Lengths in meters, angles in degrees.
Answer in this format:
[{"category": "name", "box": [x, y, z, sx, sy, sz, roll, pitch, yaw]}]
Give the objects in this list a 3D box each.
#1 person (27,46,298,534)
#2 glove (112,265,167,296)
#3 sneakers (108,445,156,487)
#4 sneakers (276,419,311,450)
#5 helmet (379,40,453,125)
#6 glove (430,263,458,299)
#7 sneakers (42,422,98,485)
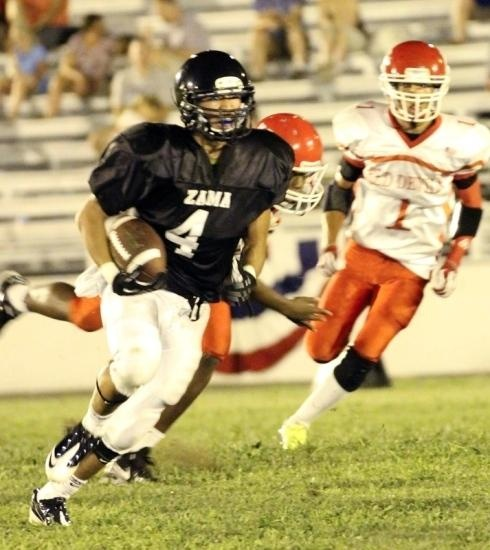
[{"category": "person", "box": [-0.239, 0.026, 2.268, 0.418, 1.406, 0.630, 16, 15, 23]}, {"category": "glove", "box": [-0.303, 0.016, 2.176, 0.139, 0.051, 0.089, -8, 10, -29]}, {"category": "sneakers", "box": [-0.391, 0.677, 2.688, 0.264, 0.121, 0.074, 10, 0, -17]}, {"category": "sneakers", "box": [0.184, 0.617, 2.915, 0.109, 0.137, 0.053, 28, 31, 4]}, {"category": "helmet", "box": [0.537, -0.698, 2.790, 0.360, 0.278, 0.314, 0, 39, 5]}, {"category": "glove", "box": [0.745, 0.024, 2.832, 0.065, 0.111, 0.101, 28, 10, 13]}, {"category": "sneakers", "box": [-0.511, 0.508, 2.196, 0.103, 0.198, 0.068, 49, -9, 17]}]
